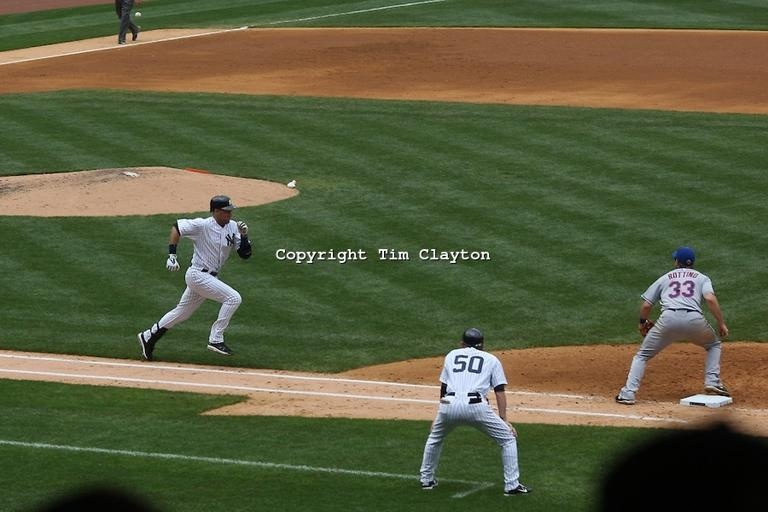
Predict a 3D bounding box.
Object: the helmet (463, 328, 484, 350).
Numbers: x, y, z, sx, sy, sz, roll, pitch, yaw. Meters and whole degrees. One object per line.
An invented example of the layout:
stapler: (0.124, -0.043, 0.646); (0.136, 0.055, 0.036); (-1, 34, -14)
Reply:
helmet: (1.788, 1.625, 33.877); (0.459, 0.234, 0.461); (3, 20, 1)

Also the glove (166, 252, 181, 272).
glove: (-4.797, 0.127, 37.714); (0.449, 0.379, 0.208); (-20, -11, -7)

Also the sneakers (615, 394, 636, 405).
sneakers: (5.214, 3.116, 36.528); (0.232, 0.148, 0.399); (0, 5, -14)

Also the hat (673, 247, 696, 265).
hat: (6.553, -0.030, 36.708); (0.446, 0.230, 0.443); (1, 29, 2)

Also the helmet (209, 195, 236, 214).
helmet: (-3.670, -1.181, 37.660); (0.674, 0.237, 0.367); (0, 16, 5)

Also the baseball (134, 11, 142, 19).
baseball: (-9.103, -8.838, 61.502); (0.334, 0.101, 0.286); (-7, -13, 20)

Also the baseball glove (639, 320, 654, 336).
baseball glove: (5.699, 1.510, 36.775); (0.403, 0.370, 0.151); (-3, 34, -5)

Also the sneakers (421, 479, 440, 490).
sneakers: (0.903, 4.558, 33.564); (0.148, 0.119, 0.371); (12, 13, 42)
